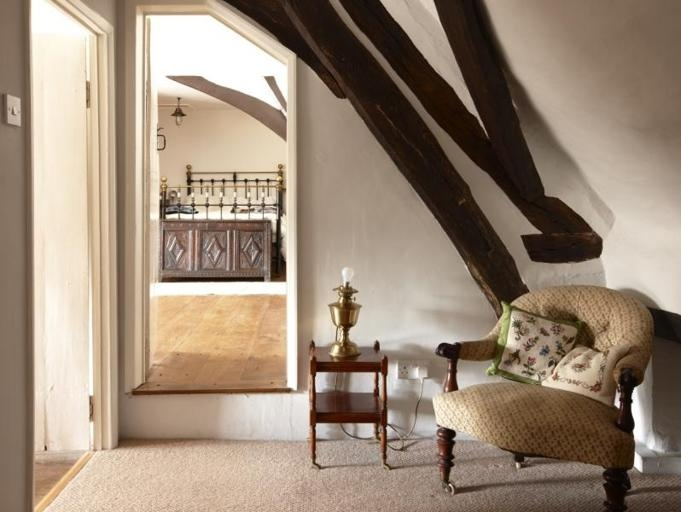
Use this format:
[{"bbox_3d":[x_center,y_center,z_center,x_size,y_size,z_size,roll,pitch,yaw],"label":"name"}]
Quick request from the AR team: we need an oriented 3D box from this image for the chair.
[{"bbox_3d":[1.033,0.604,3.067,1.071,1.167,1.013,0,-4,38],"label":"chair"}]

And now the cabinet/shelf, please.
[{"bbox_3d":[0.038,0.792,3.212,0.468,0.655,0.438,3,-2,1],"label":"cabinet/shelf"}]

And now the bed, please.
[{"bbox_3d":[-1.542,-0.463,7.747,1.319,1.230,1.835,0,3,-3],"label":"bed"}]
